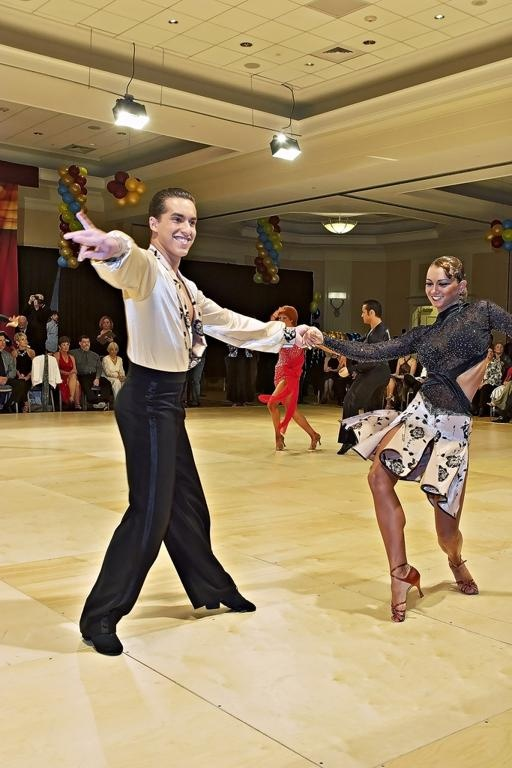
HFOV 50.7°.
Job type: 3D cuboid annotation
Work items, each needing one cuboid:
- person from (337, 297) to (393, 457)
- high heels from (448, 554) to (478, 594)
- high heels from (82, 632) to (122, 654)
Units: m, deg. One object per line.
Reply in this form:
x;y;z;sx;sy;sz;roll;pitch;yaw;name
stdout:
1.429;-0.096;7.260;0.852;1.917;0.680;-2;13;0;person
0.964;0.907;2.633;0.096;0.094;0.244;-18;21;2;high heels
-0.527;0.866;1.836;0.063;0.054;0.168;10;-16;-40;high heels
